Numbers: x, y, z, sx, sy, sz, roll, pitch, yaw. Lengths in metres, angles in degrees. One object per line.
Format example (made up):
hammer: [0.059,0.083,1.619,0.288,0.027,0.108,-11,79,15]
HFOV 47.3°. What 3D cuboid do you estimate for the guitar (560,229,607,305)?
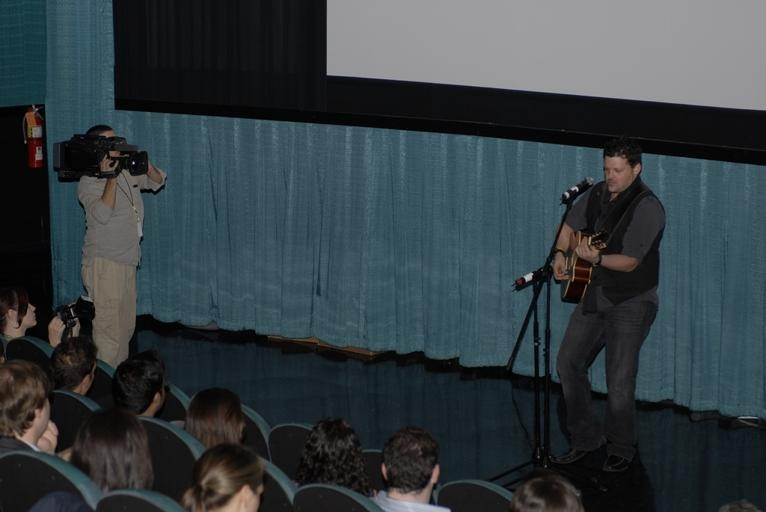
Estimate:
guitar: [1.339,0.058,5.840,0.058,0.200,0.455,6,-39,-9]

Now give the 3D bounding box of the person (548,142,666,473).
person: [1.480,0.325,5.883,0.700,2.119,0.679,3,-8,24]

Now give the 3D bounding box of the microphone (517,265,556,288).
microphone: [1.011,0.142,5.811,0.178,0.201,0.059,16,-28,22]

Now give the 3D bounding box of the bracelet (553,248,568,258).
bracelet: [1.196,-0.044,5.966,0.055,0.049,0.079,1,-3,5]

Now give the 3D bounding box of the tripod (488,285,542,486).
tripod: [1.019,0.860,6.337,0.325,1.388,1.143,4,-7,10]
